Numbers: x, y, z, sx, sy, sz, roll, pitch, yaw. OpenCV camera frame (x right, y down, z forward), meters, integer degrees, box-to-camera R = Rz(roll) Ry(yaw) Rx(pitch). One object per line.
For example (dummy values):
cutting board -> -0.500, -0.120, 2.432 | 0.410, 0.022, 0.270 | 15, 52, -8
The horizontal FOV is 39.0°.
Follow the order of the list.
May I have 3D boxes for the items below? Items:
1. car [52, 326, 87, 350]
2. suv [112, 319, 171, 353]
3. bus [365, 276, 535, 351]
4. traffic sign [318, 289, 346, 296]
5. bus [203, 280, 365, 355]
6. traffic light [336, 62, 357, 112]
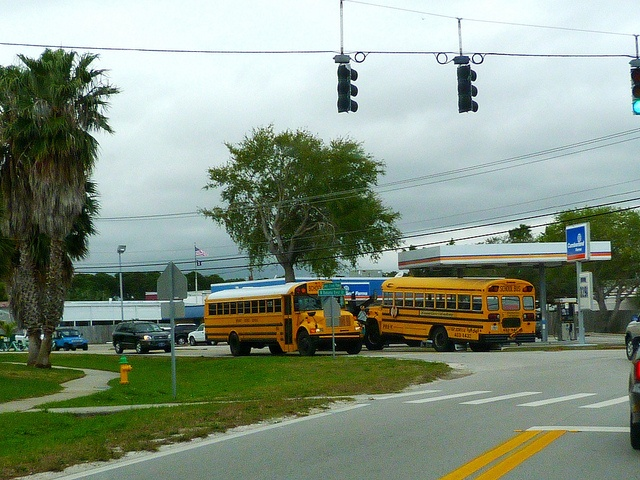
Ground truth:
car -> -18.055, 7.187, 65.005 | 1.964, 1.524, 3.200 | -1, -2, -32
suv -> -10.187, 5.620, 51.887 | 1.917, 1.804, 3.910 | -1, -2, -42
bus -> 5.827, 3.521, 42.770 | 2.968, 2.863, 9.086 | -1, -3, -39
traffic sign -> 0.500, 2.205, 37.437 | 0.985, 0.243, 2.638 | -2, -2, 2
bus -> -2.362, 3.764, 41.949 | 1.178, 2.501, 8.694 | -1, -2, -40
traffic light -> 0.775, -4.214, 25.060 | 0.511, 1.061, 0.663 | -2, -1, -1
